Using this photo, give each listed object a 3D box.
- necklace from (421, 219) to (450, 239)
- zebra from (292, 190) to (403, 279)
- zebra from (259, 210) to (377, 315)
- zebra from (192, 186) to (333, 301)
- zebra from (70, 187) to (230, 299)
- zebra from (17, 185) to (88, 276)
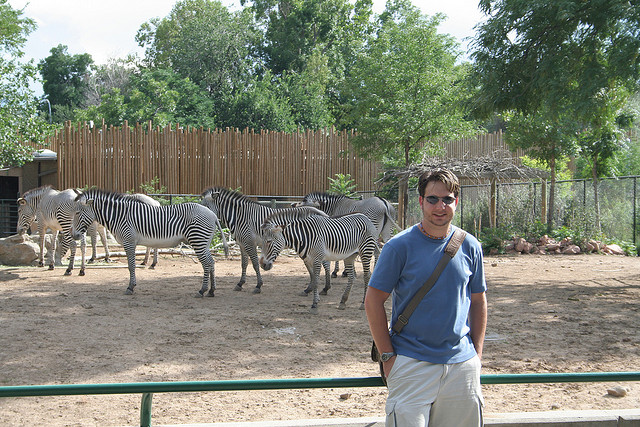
[{"bbox_3d":[1.638,0.247,9.723,0.397,0.227,0.111,0,3,7],"label":"necklace"},{"bbox_3d":[0.451,0.829,18.980,3.216,2.462,0.985,9,13,40],"label":"zebra"},{"bbox_3d":[-0.017,1.071,15.498,2.611,2.239,0.968,0,3,-5],"label":"zebra"},{"bbox_3d":[-1.519,0.753,17.890,3.915,2.619,0.965,5,3,-9],"label":"zebra"},{"bbox_3d":[-4.212,0.762,17.003,3.928,2.589,1.045,1,-5,-6],"label":"zebra"},{"bbox_3d":[-7.734,0.430,19.752,3.546,2.358,1.026,2,0,39],"label":"zebra"}]
